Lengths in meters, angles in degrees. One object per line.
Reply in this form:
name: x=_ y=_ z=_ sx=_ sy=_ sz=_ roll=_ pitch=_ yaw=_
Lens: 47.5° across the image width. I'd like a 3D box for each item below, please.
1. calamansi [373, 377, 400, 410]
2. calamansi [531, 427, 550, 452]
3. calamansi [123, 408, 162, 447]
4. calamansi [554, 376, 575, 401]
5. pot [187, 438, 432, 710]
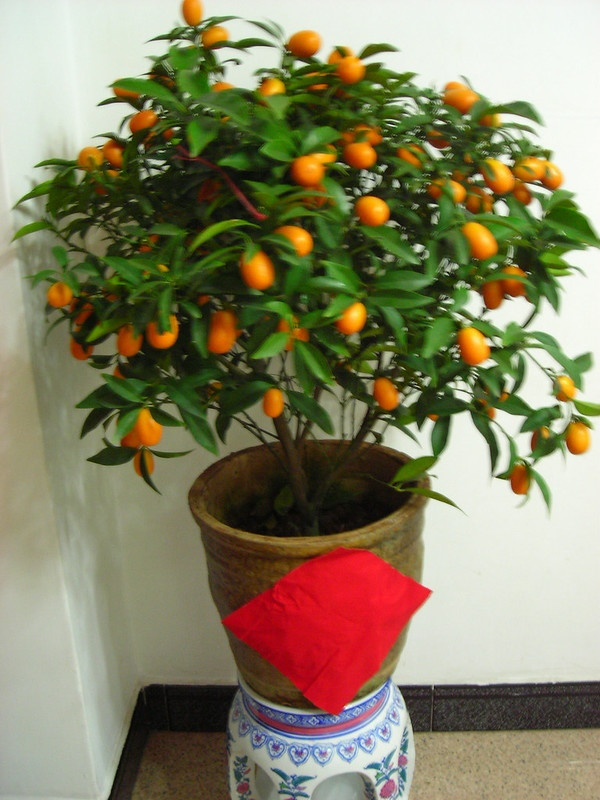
calamansi: x=0.103 y=-0.007 z=0.807 sx=0.025 sy=0.039 sz=0.027 roll=-4 pitch=30 yaw=38
calamansi: x=0.284 y=0.047 z=0.805 sx=0.007 sy=0.027 sz=0.019 roll=17 pitch=3 yaw=-34
calamansi: x=-0.162 y=0.031 z=0.704 sx=0.034 sy=0.044 sz=0.034 roll=-5 pitch=14 yaw=-13
calamansi: x=0.308 y=-0.016 z=0.788 sx=0.019 sy=0.031 sz=0.068 roll=6 pitch=15 yaw=27
pot: x=0.023 y=0.263 z=1.074 sx=0.380 sy=0.293 sz=0.355 roll=-1 pitch=17 yaw=0
